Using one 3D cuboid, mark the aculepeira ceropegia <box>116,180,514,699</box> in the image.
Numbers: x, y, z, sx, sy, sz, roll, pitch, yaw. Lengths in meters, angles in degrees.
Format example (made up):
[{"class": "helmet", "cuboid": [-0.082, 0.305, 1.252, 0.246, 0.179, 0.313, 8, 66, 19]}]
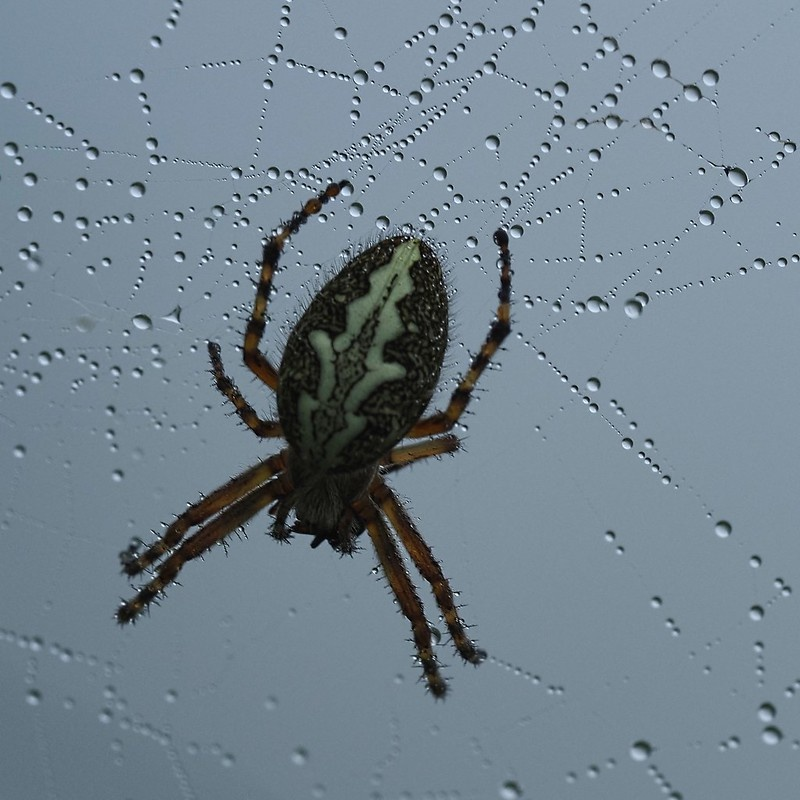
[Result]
[{"class": "aculepeira ceropegia", "cuboid": [-0.214, 0.055, 4.085, 1.545, 2.256, 0.506, 24, 16, 16]}]
